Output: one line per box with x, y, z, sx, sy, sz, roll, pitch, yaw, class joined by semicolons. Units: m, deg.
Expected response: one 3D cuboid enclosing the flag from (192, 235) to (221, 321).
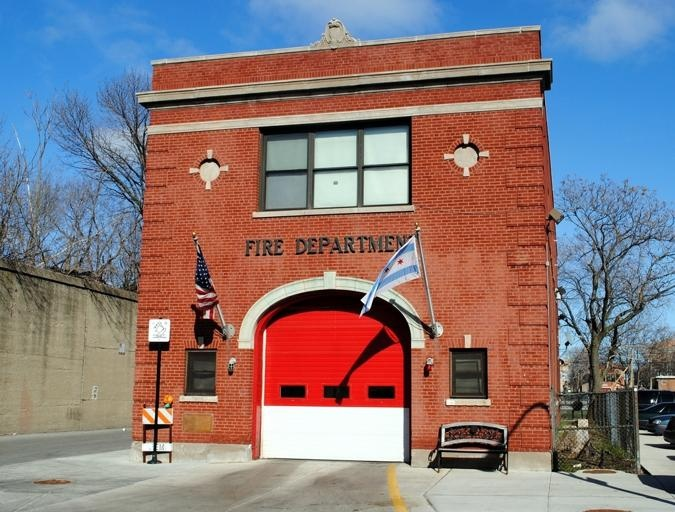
-3.995;0.489;24.965;0.929;2.696;1.771;2;-12;-9;flag

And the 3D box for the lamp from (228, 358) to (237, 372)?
-3.267;3.329;25.066;0.290;0.460;0.176;1;-12;-2;lamp

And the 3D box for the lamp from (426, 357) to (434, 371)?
2.743;3.140;24.015;0.219;0.344;0.147;-1;-12;5;lamp

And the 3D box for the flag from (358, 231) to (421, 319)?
1.583;0.433;24.224;1.946;2.512;0.384;-8;-9;3;flag
